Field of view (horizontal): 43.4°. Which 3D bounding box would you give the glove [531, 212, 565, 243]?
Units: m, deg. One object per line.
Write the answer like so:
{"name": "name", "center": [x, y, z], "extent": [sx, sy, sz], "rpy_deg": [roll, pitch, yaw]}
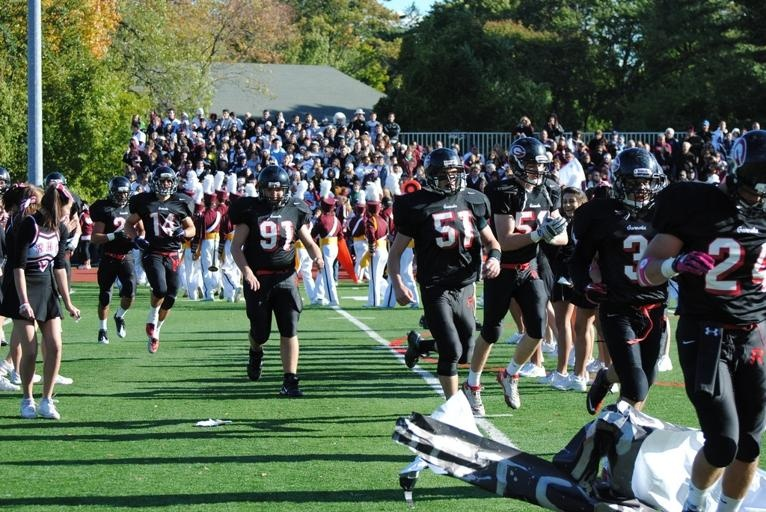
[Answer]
{"name": "glove", "center": [1.666, -0.264, 9.637], "extent": [0.306, 0.151, 0.263], "rpy_deg": [-35, -9, 5]}

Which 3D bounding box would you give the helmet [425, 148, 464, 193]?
{"name": "helmet", "center": [0.625, -0.832, 9.514], "extent": [0.334, 0.381, 0.458], "rpy_deg": [-3, 10, -14]}

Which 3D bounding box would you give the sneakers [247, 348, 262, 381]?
{"name": "sneakers", "center": [-1.454, 1.256, 11.044], "extent": [0.146, 0.439, 0.173], "rpy_deg": [-3, 28, -6]}

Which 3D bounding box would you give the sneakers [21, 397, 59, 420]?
{"name": "sneakers", "center": [-3.494, 1.580, 9.877], "extent": [0.391, 0.171, 0.200], "rpy_deg": [0, 2, 4]}

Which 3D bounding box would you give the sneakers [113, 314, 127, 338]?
{"name": "sneakers", "center": [-3.740, 1.029, 13.773], "extent": [0.142, 0.340, 0.118], "rpy_deg": [-3, 8, 42]}

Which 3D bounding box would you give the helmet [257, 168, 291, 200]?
{"name": "helmet", "center": [-1.182, -0.793, 10.500], "extent": [0.284, 0.318, 0.377], "rpy_deg": [0, 8, -10]}

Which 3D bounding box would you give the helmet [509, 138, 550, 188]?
{"name": "helmet", "center": [1.513, -1.006, 10.239], "extent": [0.400, 0.476, 0.499], "rpy_deg": [-10, 28, -30]}

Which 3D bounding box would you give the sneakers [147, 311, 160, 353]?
{"name": "sneakers", "center": [-2.970, 0.988, 12.502], "extent": [0.175, 0.559, 0.251], "rpy_deg": [0, -10, -29]}

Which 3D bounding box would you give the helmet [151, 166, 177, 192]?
{"name": "helmet", "center": [-2.907, -1.011, 12.828], "extent": [0.275, 0.305, 0.360], "rpy_deg": [1, 4, -13]}

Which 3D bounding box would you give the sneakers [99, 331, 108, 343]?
{"name": "sneakers", "center": [-3.776, 1.135, 13.243], "extent": [0.181, 0.188, 0.109], "rpy_deg": [1, 2, 9]}

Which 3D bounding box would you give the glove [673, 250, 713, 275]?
{"name": "glove", "center": [2.370, 0.063, 7.393], "extent": [0.238, 0.081, 0.182], "rpy_deg": [-4, 42, 14]}

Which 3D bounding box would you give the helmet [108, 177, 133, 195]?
{"name": "helmet", "center": [-3.667, -1.002, 13.529], "extent": [0.263, 0.264, 0.211], "rpy_deg": [-8, 17, -24]}
